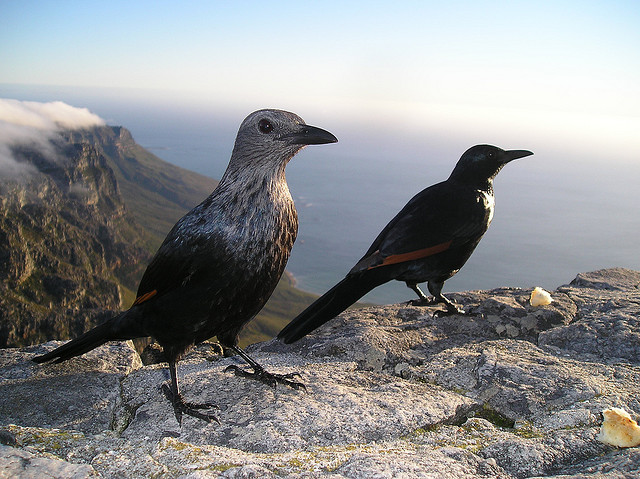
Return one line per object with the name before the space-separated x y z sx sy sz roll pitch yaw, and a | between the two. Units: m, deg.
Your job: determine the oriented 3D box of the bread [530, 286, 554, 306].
bread | 3.303 0.850 10.584 0.269 0.115 0.278 22 25 22
